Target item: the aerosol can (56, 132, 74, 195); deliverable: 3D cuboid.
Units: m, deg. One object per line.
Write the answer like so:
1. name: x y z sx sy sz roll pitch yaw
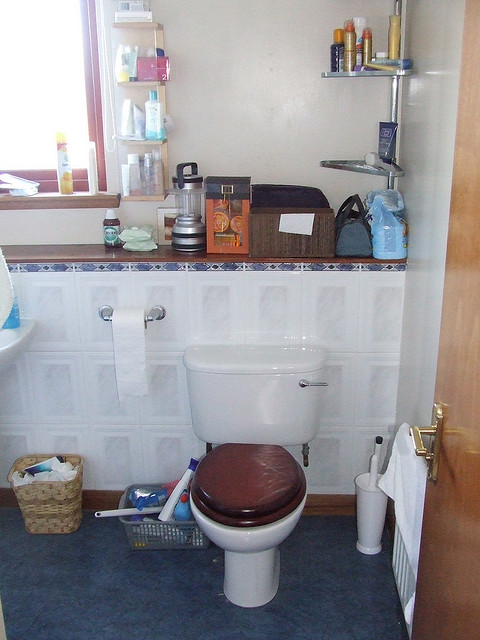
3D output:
1. aerosol can: -0.722 -0.635 2.097 0.055 0.238 0.100 -5 14 -19

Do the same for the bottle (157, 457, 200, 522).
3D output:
1. bottle: -0.235 0.670 2.022 0.085 0.073 0.286 30 51 8

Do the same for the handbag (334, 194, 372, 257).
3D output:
1. handbag: 0.443 -0.375 2.047 0.164 0.237 0.300 0 12 6

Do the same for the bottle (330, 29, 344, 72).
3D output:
1. bottle: 0.356 -0.971 1.850 0.050 0.148 0.035 5 14 22

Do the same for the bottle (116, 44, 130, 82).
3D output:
1. bottle: -0.442 -0.958 1.915 0.052 0.127 0.028 1 13 9

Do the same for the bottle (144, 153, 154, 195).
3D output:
1. bottle: -0.360 -0.575 2.022 0.038 0.154 0.027 -3 13 -8

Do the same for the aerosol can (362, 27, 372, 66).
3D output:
1. aerosol can: 0.454 -0.975 1.815 0.034 0.131 0.065 2 13 11

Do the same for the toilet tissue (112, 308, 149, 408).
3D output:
1. toilet tissue: -0.418 0.129 1.988 0.127 0.338 0.135 -3 13 -9

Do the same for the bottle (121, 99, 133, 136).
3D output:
1. bottle: -0.443 -0.792 2.005 0.043 0.145 0.086 -3 13 -12

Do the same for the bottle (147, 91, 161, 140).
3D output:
1. bottle: -0.325 -0.752 1.931 0.054 0.138 0.027 1 13 8

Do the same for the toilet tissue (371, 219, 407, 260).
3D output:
1. toilet tissue: 0.566 -0.327 1.928 0.144 0.181 0.097 -4 25 9

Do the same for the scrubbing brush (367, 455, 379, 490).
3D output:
1. scrubbing brush: 0.513 0.573 1.943 0.042 0.136 0.079 3 13 15

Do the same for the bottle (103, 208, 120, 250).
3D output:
1. bottle: -0.534 -0.380 2.132 0.065 0.167 0.132 -4 13 -14

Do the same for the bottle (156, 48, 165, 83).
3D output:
1. bottle: -0.299 -0.956 1.922 0.034 0.128 0.056 -2 13 -7

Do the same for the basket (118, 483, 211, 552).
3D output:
1. basket: -0.286 0.802 2.052 0.354 0.163 0.219 0 33 -4

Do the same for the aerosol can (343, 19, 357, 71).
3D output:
1. aerosol can: 0.397 -0.976 1.819 0.044 0.170 0.054 -1 13 0

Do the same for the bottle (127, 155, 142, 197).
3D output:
1. bottle: -0.410 -0.568 2.015 0.052 0.154 0.035 -6 14 -22

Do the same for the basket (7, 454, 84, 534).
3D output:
1. basket: -0.796 0.730 2.127 0.287 0.292 0.264 -3 13 -13

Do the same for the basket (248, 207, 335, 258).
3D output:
1. basket: 0.198 -0.300 2.007 0.364 0.191 0.190 2 -12 -3

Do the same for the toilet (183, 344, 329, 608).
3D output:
1. toilet: 0.045 0.537 1.801 0.549 0.728 0.691 1 16 4

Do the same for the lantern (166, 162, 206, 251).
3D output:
1. lantern: -0.204 -0.454 2.063 0.188 0.336 0.172 -5 19 -13

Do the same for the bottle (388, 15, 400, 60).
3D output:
1. bottle: 0.556 -1.007 1.826 0.039 0.152 0.059 3 13 14
